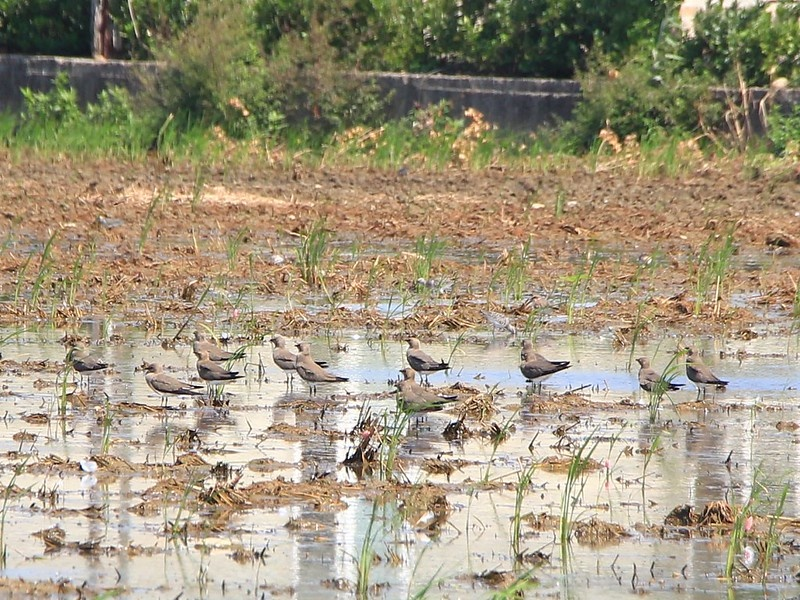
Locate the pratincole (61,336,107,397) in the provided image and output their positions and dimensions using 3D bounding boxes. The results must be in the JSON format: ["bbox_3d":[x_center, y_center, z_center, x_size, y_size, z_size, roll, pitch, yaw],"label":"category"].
[{"bbox_3d":[-3.194,0.688,15.540,0.400,0.339,0.133,-12,-1,3],"label":"pratincole"}]
